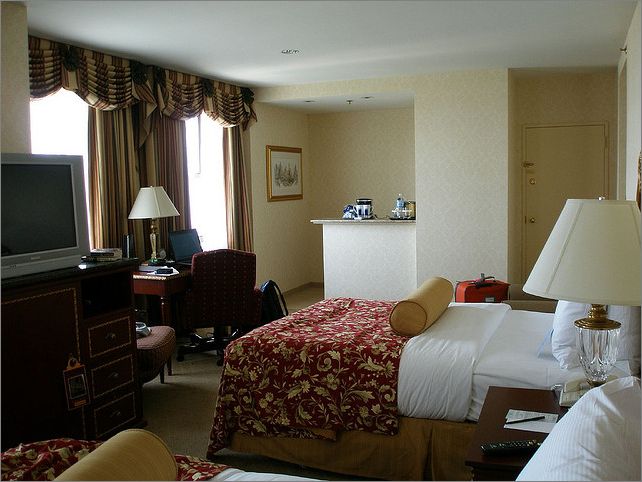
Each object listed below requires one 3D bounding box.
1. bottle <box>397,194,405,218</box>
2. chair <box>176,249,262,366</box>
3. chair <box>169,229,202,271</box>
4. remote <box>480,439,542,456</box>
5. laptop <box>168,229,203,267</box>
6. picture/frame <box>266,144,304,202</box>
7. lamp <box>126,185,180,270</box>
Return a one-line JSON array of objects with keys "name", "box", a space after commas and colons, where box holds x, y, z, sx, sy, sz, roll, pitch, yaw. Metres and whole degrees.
[{"name": "bottle", "box": [1.039, -0.437, 6.504, 0.103, 0.264, 0.135, 5, 14, 34]}, {"name": "chair", "box": [-1.026, 0.619, 5.054, 0.805, 1.111, 0.779, 1, 2, -36]}, {"name": "chair", "box": [-1.370, 0.056, 5.428, 0.393, 0.326, 0.470, 3, 10, 21]}, {"name": "remote", "box": [0.788, 0.858, 2.063, 0.195, 0.045, 0.096, -6, 2, 3]}, {"name": "laptop", "box": [-1.367, 0.070, 5.431, 0.447, 0.314, 0.498, 4, 10, 13]}, {"name": "picture/frame", "box": [-0.559, -1.015, 7.474, 0.031, 0.698, 0.862, 2, 6, 24]}, {"name": "lamp", "box": [-1.683, -0.122, 5.051, 0.459, 0.738, 0.484, -12, -6, 40]}]
